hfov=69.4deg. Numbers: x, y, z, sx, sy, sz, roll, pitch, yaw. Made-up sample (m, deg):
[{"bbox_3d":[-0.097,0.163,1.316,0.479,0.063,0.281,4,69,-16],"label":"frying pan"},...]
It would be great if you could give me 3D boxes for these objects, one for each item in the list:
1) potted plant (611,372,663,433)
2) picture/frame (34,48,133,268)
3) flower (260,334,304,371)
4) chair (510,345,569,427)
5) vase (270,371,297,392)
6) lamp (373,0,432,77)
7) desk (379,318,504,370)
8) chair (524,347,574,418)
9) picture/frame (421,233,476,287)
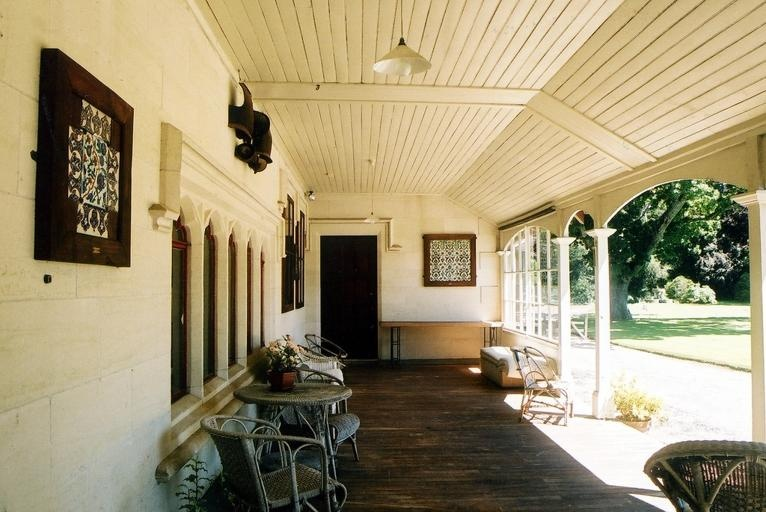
[{"bbox_3d":[2.994,1.725,6.872,0.775,0.803,0.592,-1,-9,5],"label":"potted plant"},{"bbox_3d":[-1.742,-0.550,3.248,0.163,1.263,0.591,4,0,21],"label":"picture/frame"},{"bbox_3d":[-1.051,0.981,5.642,0.372,0.372,0.398,8,6,14],"label":"flower"},{"bbox_3d":[2.013,1.645,7.079,0.713,0.922,0.617,0,-2,28],"label":"chair"},{"bbox_3d":[-0.873,1.075,4.887,0.169,0.146,0.201,1,-2,-30],"label":"vase"},{"bbox_3d":[0.148,-1.688,4.398,0.388,0.593,0.879,4,0,-1],"label":"lamp"},{"bbox_3d":[1.018,1.547,10.084,2.213,0.813,0.690,4,0,-5],"label":"desk"},{"bbox_3d":[2.022,1.606,7.049,0.636,0.883,0.589,-7,-7,30],"label":"chair"},{"bbox_3d":[1.237,0.067,10.315,0.926,0.957,0.055,-1,-1,19],"label":"picture/frame"}]
